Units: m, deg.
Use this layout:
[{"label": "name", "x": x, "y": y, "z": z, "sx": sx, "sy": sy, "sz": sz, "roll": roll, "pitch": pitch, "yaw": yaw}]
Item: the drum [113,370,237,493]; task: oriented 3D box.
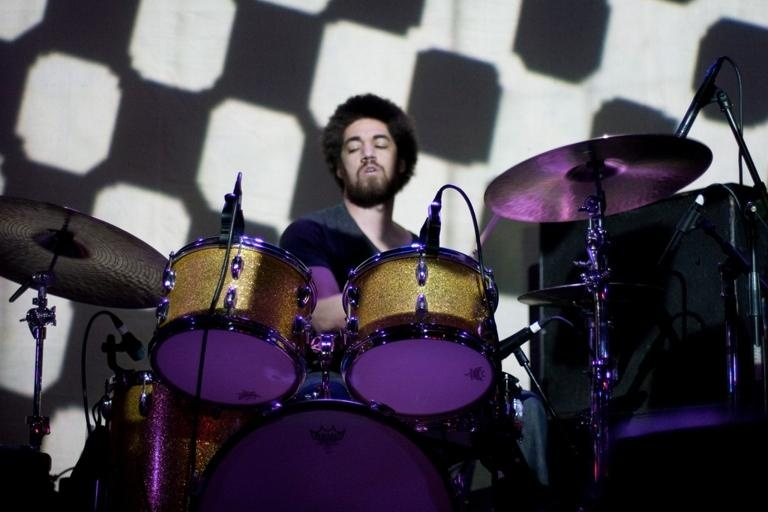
[{"label": "drum", "x": -0.829, "y": 0.805, "z": 3.987, "sx": 0.666, "sy": 0.524, "sz": 0.638, "roll": -2, "pitch": -12, "yaw": 0}]

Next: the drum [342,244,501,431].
[{"label": "drum", "x": 0.171, "y": 0.355, "z": 3.843, "sx": 0.680, "sy": 0.490, "sz": 0.667, "roll": 1, "pitch": -43, "yaw": 1}]
